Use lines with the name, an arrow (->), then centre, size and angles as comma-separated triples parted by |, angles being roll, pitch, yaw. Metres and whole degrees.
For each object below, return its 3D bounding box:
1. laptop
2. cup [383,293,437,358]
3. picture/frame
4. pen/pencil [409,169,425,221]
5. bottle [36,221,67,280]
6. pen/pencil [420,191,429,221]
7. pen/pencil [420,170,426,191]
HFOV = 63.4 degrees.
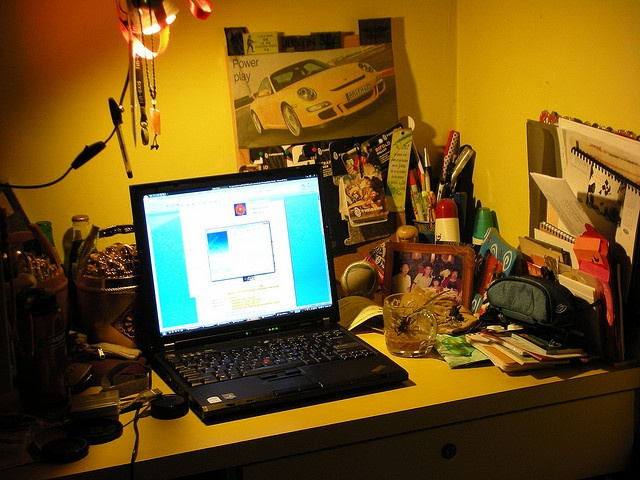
laptop -> -0.151, -0.038, 1.126 | 0.509, 0.408, 0.536 | -7, 19, -27
cup -> 0.199, 0.196, 1.183 | 0.090, 0.100, 0.137 | -4, 7, -10
picture/frame -> 0.276, 0.093, 1.288 | 0.152, 0.156, 0.012 | 1, -7, 21
pen/pencil -> 0.276, -0.117, 1.476 | 0.027, 0.168, 0.023 | -8, -11, 2
bottle -> -0.648, 0.025, 1.261 | 0.032, 0.129, 0.175 | -17, 18, -27
pen/pencil -> 0.299, -0.096, 1.467 | 0.023, 0.078, 0.025 | -3, 17, 19
pen/pencil -> 0.293, -0.166, 1.462 | 0.007, 0.055, 0.007 | -14, -19, 41
